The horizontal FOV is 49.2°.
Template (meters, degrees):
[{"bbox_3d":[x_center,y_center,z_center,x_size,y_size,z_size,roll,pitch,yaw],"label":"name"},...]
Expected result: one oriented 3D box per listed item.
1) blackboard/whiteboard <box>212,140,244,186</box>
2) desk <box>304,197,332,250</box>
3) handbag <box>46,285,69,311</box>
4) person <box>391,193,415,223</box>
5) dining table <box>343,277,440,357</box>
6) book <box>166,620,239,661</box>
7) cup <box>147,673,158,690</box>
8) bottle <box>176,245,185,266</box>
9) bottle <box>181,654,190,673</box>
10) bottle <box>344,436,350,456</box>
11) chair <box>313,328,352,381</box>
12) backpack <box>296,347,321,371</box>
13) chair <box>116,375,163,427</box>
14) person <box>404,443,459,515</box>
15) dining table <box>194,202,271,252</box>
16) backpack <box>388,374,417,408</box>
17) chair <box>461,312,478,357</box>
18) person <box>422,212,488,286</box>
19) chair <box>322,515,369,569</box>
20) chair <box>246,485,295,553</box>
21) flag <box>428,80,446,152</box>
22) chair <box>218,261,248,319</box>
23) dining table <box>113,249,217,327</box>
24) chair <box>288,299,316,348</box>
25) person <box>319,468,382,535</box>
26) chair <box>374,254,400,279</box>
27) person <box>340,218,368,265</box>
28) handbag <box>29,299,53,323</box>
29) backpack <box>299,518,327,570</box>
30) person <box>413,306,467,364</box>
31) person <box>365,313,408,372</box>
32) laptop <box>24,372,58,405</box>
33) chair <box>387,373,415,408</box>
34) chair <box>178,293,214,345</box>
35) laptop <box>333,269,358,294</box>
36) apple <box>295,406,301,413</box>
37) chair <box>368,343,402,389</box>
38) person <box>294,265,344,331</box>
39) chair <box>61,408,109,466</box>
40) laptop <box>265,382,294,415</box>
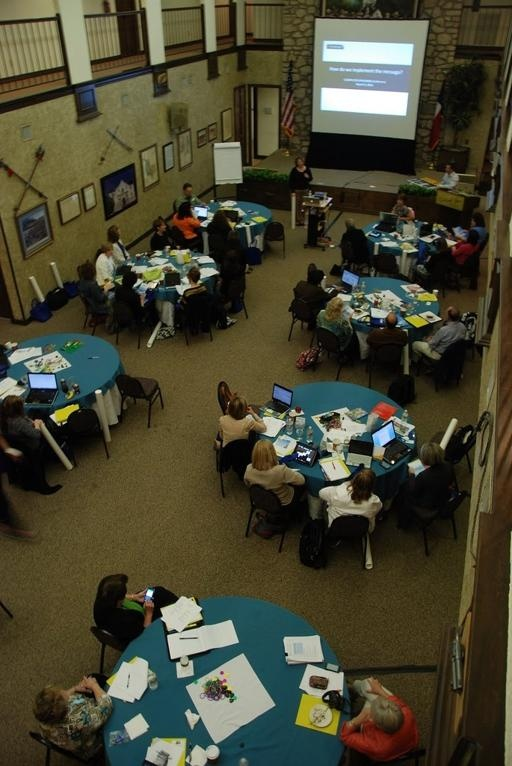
[{"bbox_3d":[-0.667,-5.217,13.378,0.670,0.972,0.362,-4,30,-4],"label":"blackboard/whiteboard"},{"bbox_3d":[1.284,-3.366,11.823,0.508,0.964,1.070,4,39,11],"label":"desk"},{"bbox_3d":[-3.358,-1.428,9.467,0.224,0.286,0.487,8,33,17],"label":"handbag"},{"bbox_3d":[2.788,-3.330,10.640,0.375,0.420,0.985,6,32,13],"label":"person"},{"bbox_3d":[1.982,-1.205,8.160,1.199,0.618,1.263,0,43,1],"label":"dining table"},{"bbox_3d":[-0.356,1.710,3.726,0.328,0.048,0.194,-8,37,-19],"label":"book"},{"bbox_3d":[-0.634,1.832,3.421,0.054,0.097,0.056,-1,33,0],"label":"cup"},{"bbox_3d":[-1.263,-2.132,9.324,0.178,0.088,0.290,-4,52,-13],"label":"bottle"},{"bbox_3d":[-0.442,1.764,3.529,0.077,0.119,0.075,1,28,-1],"label":"bottle"},{"bbox_3d":[0.873,0.614,5.402,0.054,0.107,0.107,5,46,9],"label":"bottle"},{"bbox_3d":[1.067,-0.391,7.772,0.344,0.588,0.408,29,67,20],"label":"chair"},{"bbox_3d":[0.751,-0.337,7.973,0.260,0.358,0.115,41,13,24],"label":"backpack"},{"bbox_3d":[-1.482,0.248,7.030,0.332,0.672,0.436,8,55,3],"label":"chair"},{"bbox_3d":[1.582,0.895,5.126,0.313,0.772,0.438,-23,47,-1],"label":"person"},{"bbox_3d":[-0.341,-3.368,11.188,1.282,0.753,1.337,0,46,-4],"label":"dining table"},{"bbox_3d":[1.854,0.111,7.099,0.199,0.376,0.189,-33,56,-21],"label":"backpack"},{"bbox_3d":[2.846,-0.662,7.491,0.223,0.469,0.658,3,73,12],"label":"chair"},{"bbox_3d":[3.487,-2.253,9.781,0.755,1.276,1.587,16,35,27],"label":"person"},{"bbox_3d":[0.806,1.449,5.090,0.369,0.628,0.463,0,51,4],"label":"chair"},{"bbox_3d":[0.152,1.305,5.321,0.354,0.641,0.445,13,48,15],"label":"chair"},{"bbox_3d":[4.716,-6.896,14.625,0.277,1.687,0.882,6,31,14],"label":"flag"},{"bbox_3d":[-0.384,-1.523,9.193,0.420,0.944,0.597,-4,30,-3],"label":"chair"},{"bbox_3d":[-1.374,-1.778,8.978,1.354,0.850,1.382,9,46,7],"label":"dining table"},{"bbox_3d":[0.704,-1.073,8.671,0.418,0.795,0.940,0,31,4],"label":"chair"},{"bbox_3d":[0.813,1.011,4.853,0.359,0.763,0.429,12,66,9],"label":"person"},{"bbox_3d":[2.234,-2.072,9.620,0.372,0.500,0.417,8,48,11],"label":"chair"},{"bbox_3d":[1.771,-2.502,9.955,0.509,0.828,0.267,-10,31,-14],"label":"person"},{"bbox_3d":[-3.528,-1.179,9.137,0.147,0.275,0.275,-20,26,37],"label":"handbag"},{"bbox_3d":[0.528,1.489,5.190,0.275,0.143,0.416,2,74,26],"label":"backpack"},{"bbox_3d":[2.409,-0.625,7.428,0.280,0.857,0.678,-26,38,-35],"label":"person"},{"bbox_3d":[1.715,-0.534,7.305,0.559,0.857,0.379,-5,30,-5],"label":"person"},{"bbox_3d":[-2.363,0.080,6.181,0.351,0.276,0.319,0,29,-4],"label":"laptop"},{"bbox_3d":[1.836,0.111,7.078,0.205,0.385,0.194,-33,56,-21],"label":"chair"},{"bbox_3d":[-0.964,-1.107,8.710,0.484,0.878,0.606,-11,32,-14],"label":"chair"},{"bbox_3d":[1.418,-1.571,8.660,0.396,0.316,0.245,28,25,33],"label":"laptop"},{"bbox_3d":[0.444,0.274,5.869,0.057,0.045,0.059,-8,30,-12],"label":"apple"},{"bbox_3d":[1.713,-0.238,7.459,0.367,0.688,0.454,0,62,7],"label":"chair"},{"bbox_3d":[0.884,-1.256,8.652,0.550,1.080,0.725,26,41,33],"label":"person"},{"bbox_3d":[-1.948,0.616,6.346,0.321,0.601,0.428,-14,62,-11],"label":"chair"},{"bbox_3d":[0.246,0.175,6.031,0.321,0.283,0.240,24,34,24],"label":"laptop"}]
